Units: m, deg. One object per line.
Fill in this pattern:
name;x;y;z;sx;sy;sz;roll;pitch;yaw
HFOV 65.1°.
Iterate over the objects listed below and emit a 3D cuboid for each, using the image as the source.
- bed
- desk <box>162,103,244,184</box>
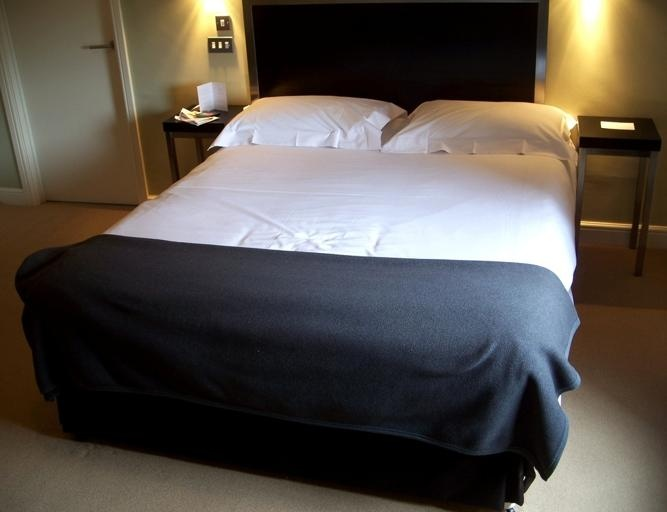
bed;0.125;-0.388;2.351;1.936;0.877;2.233;4;54;13
desk;-0.994;-0.703;3.790;0.398;0.424;0.336;-4;4;-23
